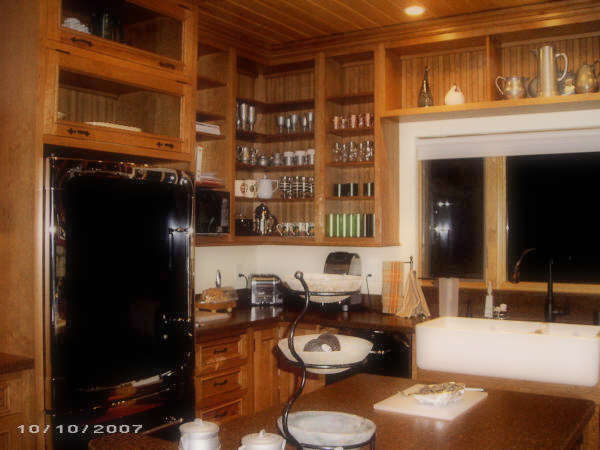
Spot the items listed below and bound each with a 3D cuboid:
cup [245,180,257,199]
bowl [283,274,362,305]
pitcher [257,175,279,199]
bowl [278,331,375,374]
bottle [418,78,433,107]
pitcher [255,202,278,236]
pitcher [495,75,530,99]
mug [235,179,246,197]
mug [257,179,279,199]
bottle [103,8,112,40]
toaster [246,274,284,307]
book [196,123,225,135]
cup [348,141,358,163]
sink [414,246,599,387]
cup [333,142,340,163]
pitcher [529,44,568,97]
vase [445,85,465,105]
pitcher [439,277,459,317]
[{"bbox_3d":[-0.415,-0.301,4.314,0.048,0.138,0.107,-3,0,39],"label":"cup"},{"bbox_3d":[0.154,0.324,2.634,0.372,0.134,0.376,4,1,0],"label":"bowl"},{"bbox_3d":[-0.271,-0.316,4.481,0.209,0.188,0.153,3,-6,-24],"label":"pitcher"},{"bbox_3d":[0.096,0.456,1.800,0.330,0.106,0.336,-7,-1,0],"label":"bowl"},{"bbox_3d":[0.949,-0.998,3.889,0.106,0.217,0.065,-2,0,12],"label":"bottle"},{"bbox_3d":[-0.295,-0.040,4.397,0.205,0.266,0.110,-2,0,-18],"label":"pitcher"},{"bbox_3d":[1.474,-0.965,3.639,0.270,0.186,0.183,-1,5,15],"label":"pitcher"},{"bbox_3d":[-0.490,-0.299,4.260,0.055,0.139,0.109,-3,0,35],"label":"mug"},{"bbox_3d":[-0.292,-0.308,4.478,0.210,0.182,0.131,3,-5,-31],"label":"mug"},{"bbox_3d":[-1.077,-1.116,2.855,0.053,0.160,0.020,-2,0,-33],"label":"bottle"},{"bbox_3d":[-0.268,0.522,4.267,0.278,0.231,0.214,-2,8,15],"label":"toaster"},{"bbox_3d":[-0.706,-0.754,3.972,0.068,0.085,0.324,-3,0,26],"label":"book"},{"bbox_3d":[0.425,-0.588,4.185,0.087,0.173,0.070,-3,0,18],"label":"cup"},{"bbox_3d":[1.156,0.465,2.765,0.842,0.607,0.466,-2,-6,32],"label":"sink"},{"bbox_3d":[0.306,-0.609,4.294,0.060,0.172,0.107,-2,0,4],"label":"cup"},{"bbox_3d":[1.678,-1.016,3.435,0.167,0.373,0.276,4,4,42],"label":"pitcher"},{"bbox_3d":[1.147,-0.957,3.803,0.125,0.151,0.101,-3,0,35],"label":"vase"},{"bbox_3d":[1.085,0.530,3.738,0.138,0.292,0.124,-3,0,13],"label":"pitcher"}]
